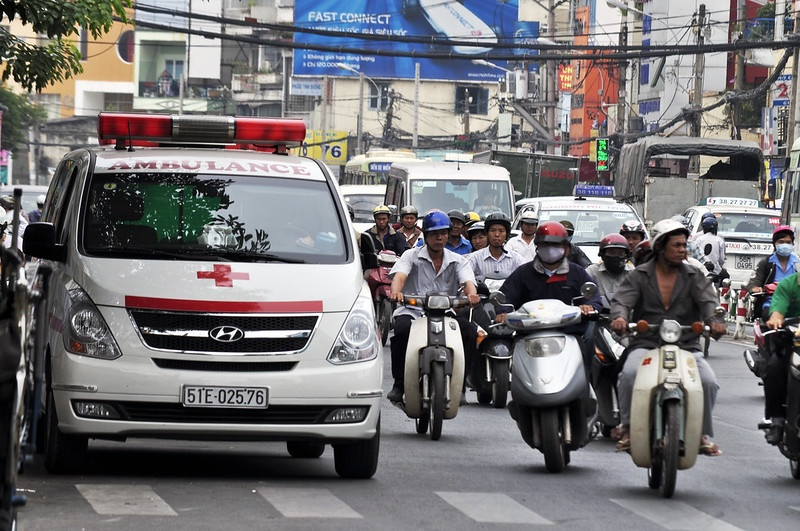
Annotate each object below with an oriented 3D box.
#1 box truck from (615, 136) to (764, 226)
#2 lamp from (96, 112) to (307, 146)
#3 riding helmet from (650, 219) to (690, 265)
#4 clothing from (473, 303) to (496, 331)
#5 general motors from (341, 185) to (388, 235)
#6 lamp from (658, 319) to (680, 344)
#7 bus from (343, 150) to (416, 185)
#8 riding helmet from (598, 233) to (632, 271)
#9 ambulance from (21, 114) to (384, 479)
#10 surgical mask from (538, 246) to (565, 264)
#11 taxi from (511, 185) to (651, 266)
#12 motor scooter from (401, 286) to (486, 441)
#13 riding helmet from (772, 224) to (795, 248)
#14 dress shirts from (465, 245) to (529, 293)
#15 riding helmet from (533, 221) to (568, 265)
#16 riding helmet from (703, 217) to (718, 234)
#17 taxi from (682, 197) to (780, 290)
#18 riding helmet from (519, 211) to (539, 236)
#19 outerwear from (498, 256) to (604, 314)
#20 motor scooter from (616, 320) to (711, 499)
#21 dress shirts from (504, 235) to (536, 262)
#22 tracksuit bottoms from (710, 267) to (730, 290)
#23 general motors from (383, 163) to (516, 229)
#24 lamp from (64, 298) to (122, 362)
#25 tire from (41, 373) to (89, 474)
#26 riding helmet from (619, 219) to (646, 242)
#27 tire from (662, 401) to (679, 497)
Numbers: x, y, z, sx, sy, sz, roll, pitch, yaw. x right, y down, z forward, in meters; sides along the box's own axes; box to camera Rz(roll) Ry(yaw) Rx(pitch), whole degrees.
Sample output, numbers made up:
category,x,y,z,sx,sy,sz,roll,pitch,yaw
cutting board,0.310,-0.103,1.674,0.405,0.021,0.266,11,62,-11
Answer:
category,x,y,z,sx,sy,sz,roll,pitch,yaw
box truck,8.803,-2.290,33.537,4.311,2.461,2.795,3,14,16
lamp,-1.839,-1.260,10.317,1.894,0.367,0.303,1,7,-10
riding helmet,2.247,-0.224,9.028,0.265,0.320,0.337,-5,-5,-41
clothing,0.965,0.548,12.892,0.274,0.392,0.117,8,12,36
general motors,-0.875,-1.604,29.045,1.176,1.024,2.124,0,-4,-5
lamp,2.140,0.524,8.652,0.184,0.205,0.086,-1,-2,-2
bus,-0.739,-3.647,39.966,1.335,1.111,3.656,-1,1,-11
riding helmet,2.323,-0.138,11.824,0.316,0.401,0.392,0,-1,-2
ambulance,-1.743,0.257,9.902,1.980,1.906,3.592,1,-4,-9
surgical mask,1.418,-0.107,10.202,0.180,0.139,0.179,1,-7,5
taxi,3.540,-0.802,20.649,1.423,1.134,2.361,1,-4,-4
motor scooter,0.364,0.971,11.567,0.810,1.439,2.383,1,-4,0
riding helmet,5.721,-0.461,16.339,0.296,0.161,0.426,-1,-15,-1
dress shirts,1.207,-0.091,13.344,0.561,0.633,0.306,3,39,-3
riding helmet,1.394,-0.209,10.300,0.299,0.373,0.391,1,1,4
riding helmet,6.087,-0.782,21.252,0.261,0.333,0.341,3,14,8
taxi,8.053,-0.629,26.987,2.163,1.882,3.912,0,6,0
riding helmet,1.832,-0.590,15.106,0.257,0.333,0.343,1,-3,-3
outerwear,1.444,0.241,10.427,0.959,0.682,0.463,-1,-6,11
motor scooter,2.129,1.137,8.614,0.512,1.382,0.625,-5,10,-30
dress shirts,1.605,-0.221,14.445,0.410,0.393,0.221,0,-6,-22
tracksuit bottoms,5.018,0.190,17.091,0.324,0.349,0.435,6,-7,9
general motors,1.209,-1.829,25.850,1.660,1.362,2.578,0,-4,-12
lamp,-2.315,0.492,8.164,0.424,0.413,0.140,-3,-2,11
tire,-2.680,1.257,8.673,0.246,0.724,0.728,4,4,-21
riding helmet,2.901,-0.475,13.534,0.318,0.455,0.342,-1,-7,12
tire,2.097,1.422,8.407,0.132,0.766,0.276,2,9,14
